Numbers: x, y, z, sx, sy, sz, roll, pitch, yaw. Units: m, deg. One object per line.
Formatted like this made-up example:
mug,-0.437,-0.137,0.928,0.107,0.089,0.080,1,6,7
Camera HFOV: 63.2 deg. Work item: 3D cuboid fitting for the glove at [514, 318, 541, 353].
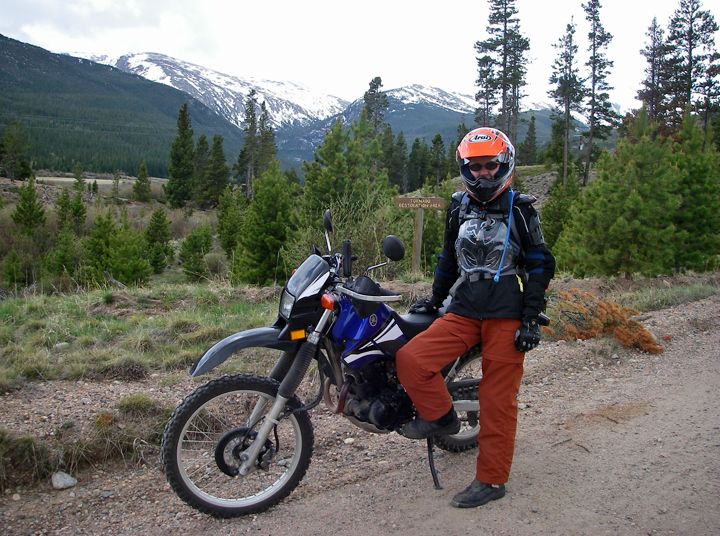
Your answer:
glove,1.670,0.700,5.928,0.206,0.335,0.094,12,-14,9
